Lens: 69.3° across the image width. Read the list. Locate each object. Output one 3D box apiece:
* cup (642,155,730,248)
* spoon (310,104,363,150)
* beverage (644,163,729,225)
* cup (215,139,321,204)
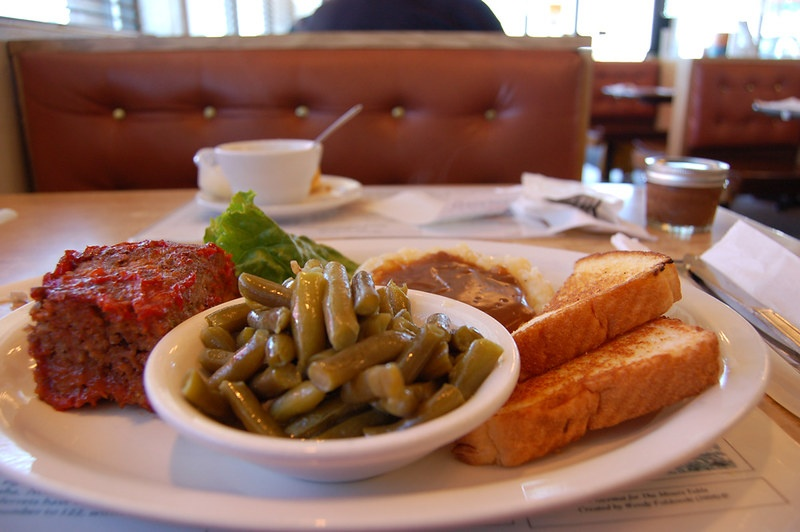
[{"bbox_3d":[1.199,-0.286,2.444,0.318,0.247,0.323,1,13,0],"label":"cup"},{"bbox_3d":[-0.291,-0.657,2.618,0.205,0.165,0.294,-3,24,-8],"label":"spoon"},{"bbox_3d":[1.196,-0.301,2.475,0.341,0.269,0.364,11,16,31],"label":"beverage"},{"bbox_3d":[-0.555,-0.423,2.491,0.349,0.197,0.342,-4,17,1],"label":"cup"}]
